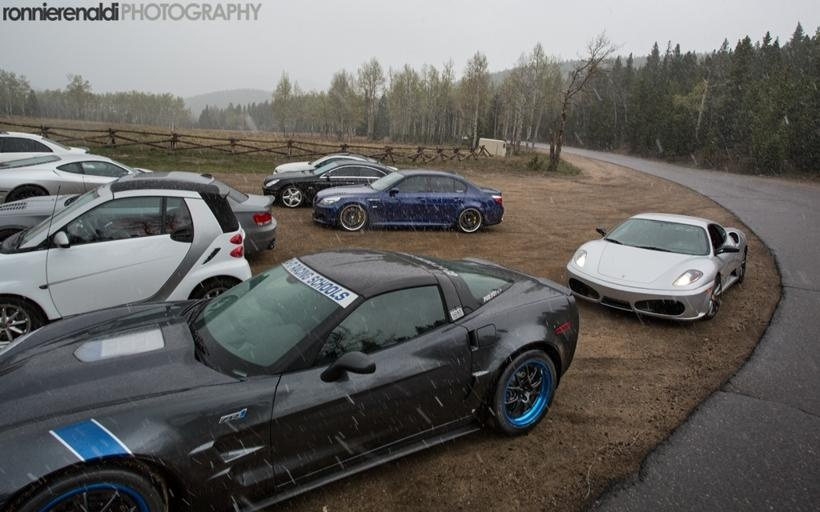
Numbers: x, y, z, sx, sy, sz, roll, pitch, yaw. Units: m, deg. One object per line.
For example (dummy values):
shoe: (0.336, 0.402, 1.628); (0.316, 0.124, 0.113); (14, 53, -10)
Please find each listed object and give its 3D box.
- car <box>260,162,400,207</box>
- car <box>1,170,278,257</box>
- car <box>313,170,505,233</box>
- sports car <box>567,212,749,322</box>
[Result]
car: (-2.720, -2.547, 16.910); (4.208, 1.449, 1.965); (1, 13, -10)
car: (-4.853, -0.763, 9.232); (4.471, 1.655, 2.185); (2, 14, -17)
car: (0.092, -1.487, 14.364); (4.545, 1.486, 2.144); (3, 12, -9)
sports car: (4.695, 0.205, 9.367); (3.437, 1.405, 2.207); (-14, 24, -32)
